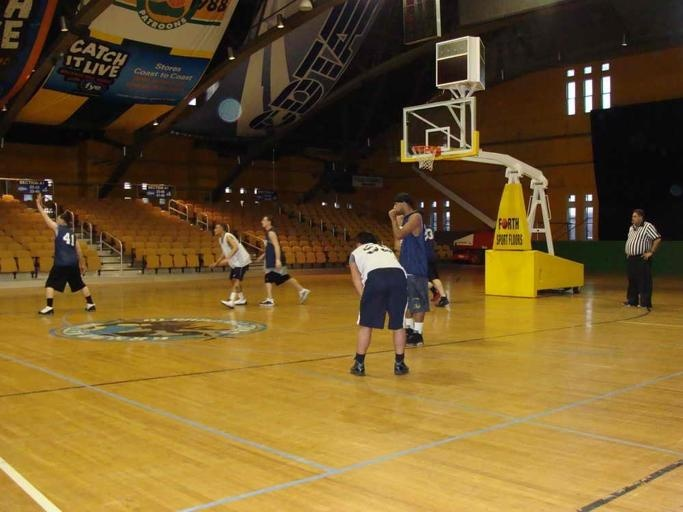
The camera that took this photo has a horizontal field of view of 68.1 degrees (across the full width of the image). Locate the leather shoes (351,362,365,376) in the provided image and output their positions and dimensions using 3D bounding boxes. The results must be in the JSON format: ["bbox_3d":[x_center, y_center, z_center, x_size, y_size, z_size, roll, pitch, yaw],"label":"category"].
[{"bbox_3d":[0.165,1.119,5.092,0.150,0.137,0.169,0,2,0],"label":"leather shoes"}]

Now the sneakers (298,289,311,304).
[{"bbox_3d":[-0.842,0.883,11.337,0.195,0.400,0.156,16,4,4],"label":"sneakers"}]

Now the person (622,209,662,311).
[{"bbox_3d":[6.279,0.055,10.454,0.588,2.024,0.764,1,2,29],"label":"person"}]

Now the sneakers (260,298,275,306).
[{"bbox_3d":[-1.645,0.999,10.982,0.384,0.159,0.128,1,-3,31],"label":"sneakers"}]

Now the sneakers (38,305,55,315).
[{"bbox_3d":[-5.664,1.013,9.606,0.433,0.163,0.161,2,1,42],"label":"sneakers"}]

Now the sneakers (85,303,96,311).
[{"bbox_3d":[-4.980,0.986,9.962,0.148,0.152,0.414,-1,5,-16],"label":"sneakers"}]

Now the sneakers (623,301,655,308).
[{"bbox_3d":[6.236,1.028,10.522,0.545,0.202,0.176,-3,-4,24],"label":"sneakers"}]

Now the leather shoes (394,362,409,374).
[{"bbox_3d":[0.622,1.132,5.159,0.156,0.112,0.144,0,2,3],"label":"leather shoes"}]

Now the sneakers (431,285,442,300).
[{"bbox_3d":[2.153,0.825,11.361,0.150,0.453,0.197,-31,47,-20],"label":"sneakers"}]
